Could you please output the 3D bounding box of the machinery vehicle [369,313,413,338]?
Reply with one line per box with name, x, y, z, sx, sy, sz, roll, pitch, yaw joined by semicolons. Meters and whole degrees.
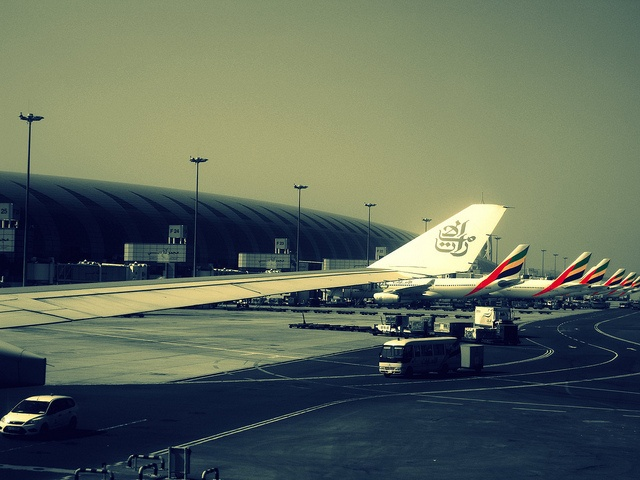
machinery vehicle;5.915;7.288;86.248;2.994;1.619;1.581;-1;-1;22
